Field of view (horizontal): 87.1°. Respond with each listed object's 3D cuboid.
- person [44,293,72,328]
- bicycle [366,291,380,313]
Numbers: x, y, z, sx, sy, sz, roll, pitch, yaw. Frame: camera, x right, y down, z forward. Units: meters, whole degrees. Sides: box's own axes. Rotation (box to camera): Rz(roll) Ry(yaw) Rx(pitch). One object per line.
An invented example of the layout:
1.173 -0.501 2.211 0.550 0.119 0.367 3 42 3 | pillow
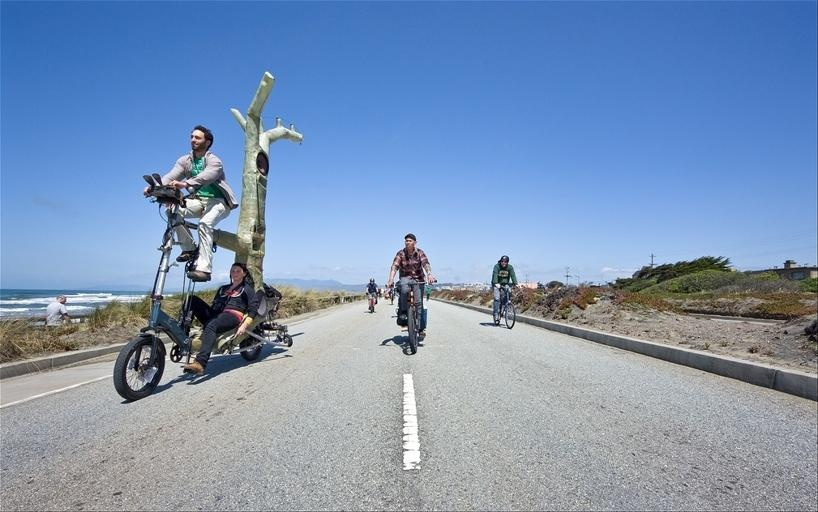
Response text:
-10.311 1.579 12.482 0.551 0.693 1.288 -9 13 -39 | person
-2.252 2.708 25.640 0.911 1.049 1.784 -1 -6 1 | bicycle
